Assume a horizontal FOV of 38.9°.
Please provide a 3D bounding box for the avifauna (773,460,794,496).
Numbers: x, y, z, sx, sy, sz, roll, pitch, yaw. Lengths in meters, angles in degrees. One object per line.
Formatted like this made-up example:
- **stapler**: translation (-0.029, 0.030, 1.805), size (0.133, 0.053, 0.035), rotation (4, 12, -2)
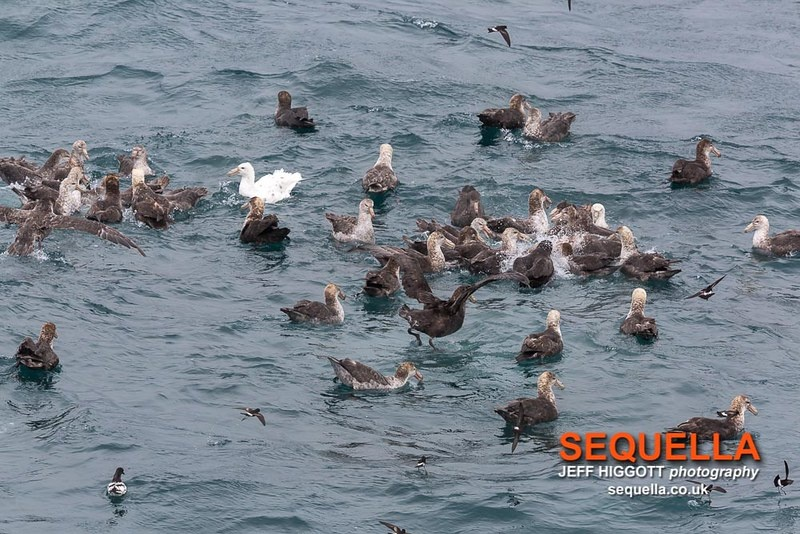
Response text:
- **avifauna**: translation (10.460, 5.830, 30.987), size (0.699, 0.713, 0.737), rotation (-9, 54, 25)

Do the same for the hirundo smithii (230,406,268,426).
- **hirundo smithii**: translation (-4.198, 4.155, 31.699), size (0.671, 0.638, 0.206), rotation (13, 83, 35)

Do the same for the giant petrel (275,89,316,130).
- **giant petrel**: translation (-4.456, -6.374, 46.244), size (1.007, 1.058, 2.651), rotation (-6, 28, -32)

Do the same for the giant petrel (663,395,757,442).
- **giant petrel**: translation (8.795, 4.547, 32.337), size (2.830, 0.999, 1.325), rotation (-3, 96, -6)
